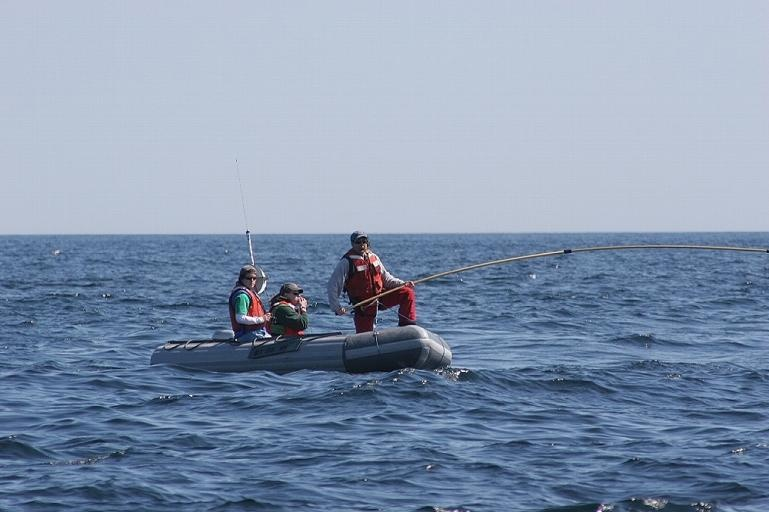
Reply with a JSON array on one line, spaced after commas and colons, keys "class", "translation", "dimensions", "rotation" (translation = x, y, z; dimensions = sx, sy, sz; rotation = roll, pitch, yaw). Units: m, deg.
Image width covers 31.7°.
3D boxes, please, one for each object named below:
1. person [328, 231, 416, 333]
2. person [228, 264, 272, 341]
[{"class": "person", "translation": [-0.322, 0.507, 27.418], "dimensions": [1.700, 2.015, 0.994], "rotation": [-2, 2, -31]}, {"class": "person", "translation": [-2.757, 0.939, 27.497], "dimensions": [1.001, 1.470, 0.758], "rotation": [8, -2, -7]}]
